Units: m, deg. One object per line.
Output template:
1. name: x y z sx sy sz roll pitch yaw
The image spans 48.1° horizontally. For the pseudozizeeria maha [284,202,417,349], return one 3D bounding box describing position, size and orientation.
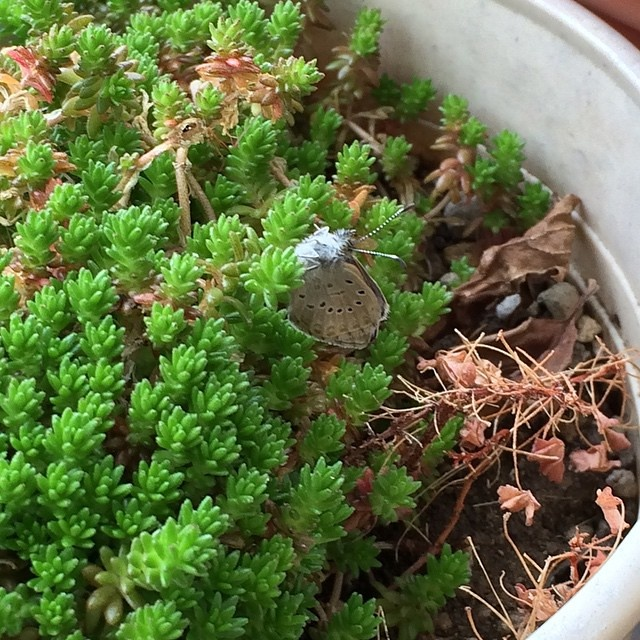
1. pseudozizeeria maha: 0.049 -0.088 1.638 0.247 0.300 0.259 0 68 2
